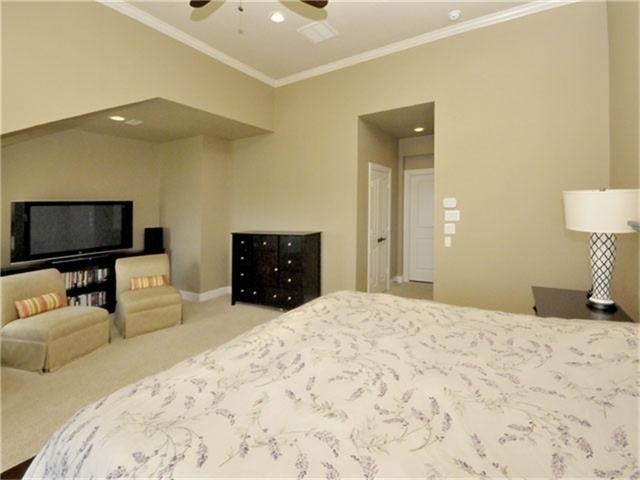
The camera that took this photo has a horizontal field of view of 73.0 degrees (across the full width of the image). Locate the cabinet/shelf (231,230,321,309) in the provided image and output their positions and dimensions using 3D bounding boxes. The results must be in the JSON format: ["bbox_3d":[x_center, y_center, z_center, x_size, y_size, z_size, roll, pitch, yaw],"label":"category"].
[{"bbox_3d":[-0.545,0.380,5.626,1.008,0.924,0.434,0,-1,29],"label":"cabinet/shelf"}]

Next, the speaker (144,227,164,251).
[{"bbox_3d":[-2.401,0.012,6.245,0.262,0.335,0.291,-4,14,-26],"label":"speaker"}]
